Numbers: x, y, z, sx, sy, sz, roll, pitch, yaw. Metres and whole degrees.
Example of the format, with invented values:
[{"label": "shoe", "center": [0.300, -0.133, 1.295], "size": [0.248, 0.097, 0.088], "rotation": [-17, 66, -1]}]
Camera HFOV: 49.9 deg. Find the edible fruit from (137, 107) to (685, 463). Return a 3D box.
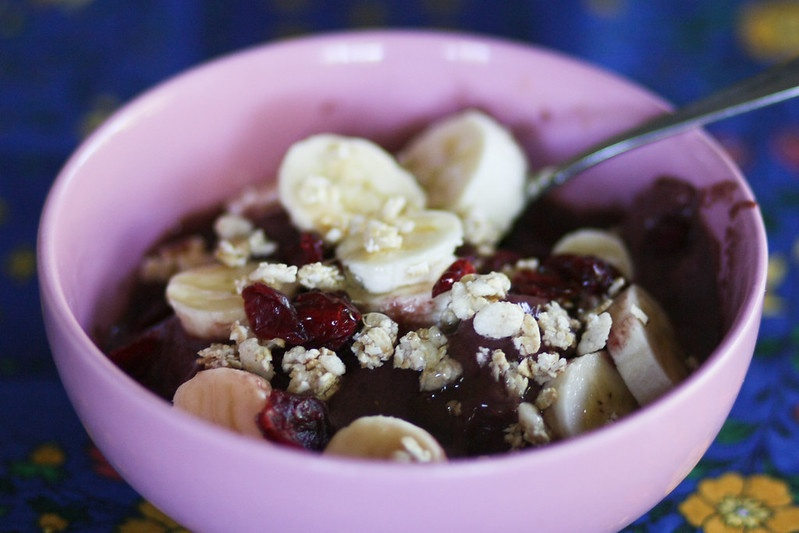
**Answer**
[{"label": "edible fruit", "center": [0.018, 0.080, 1.318], "size": [0.644, 0.237, 0.611], "rotation": [-16, 40, -22]}]
